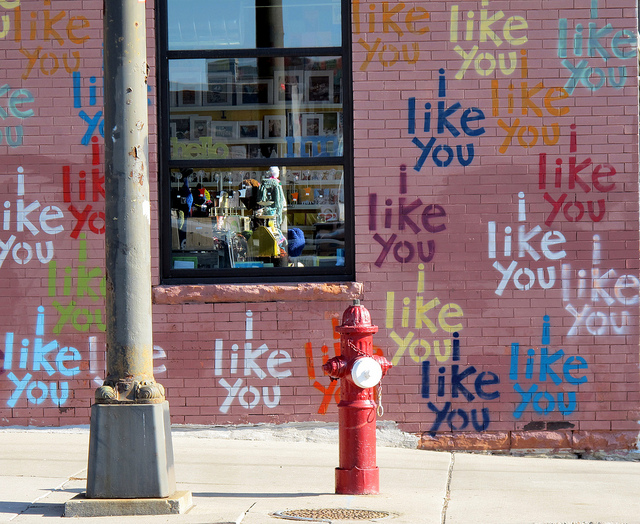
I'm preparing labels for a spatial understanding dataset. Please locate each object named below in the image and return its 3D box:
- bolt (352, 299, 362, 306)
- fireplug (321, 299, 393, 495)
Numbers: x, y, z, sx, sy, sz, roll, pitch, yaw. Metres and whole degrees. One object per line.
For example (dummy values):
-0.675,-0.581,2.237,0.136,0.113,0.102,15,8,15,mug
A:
0.315,0.357,13.756,0.052,0.045,0.051,1,-1,19,bolt
0.325,1.176,13.667,0.580,1.678,0.384,1,-2,2,fireplug
